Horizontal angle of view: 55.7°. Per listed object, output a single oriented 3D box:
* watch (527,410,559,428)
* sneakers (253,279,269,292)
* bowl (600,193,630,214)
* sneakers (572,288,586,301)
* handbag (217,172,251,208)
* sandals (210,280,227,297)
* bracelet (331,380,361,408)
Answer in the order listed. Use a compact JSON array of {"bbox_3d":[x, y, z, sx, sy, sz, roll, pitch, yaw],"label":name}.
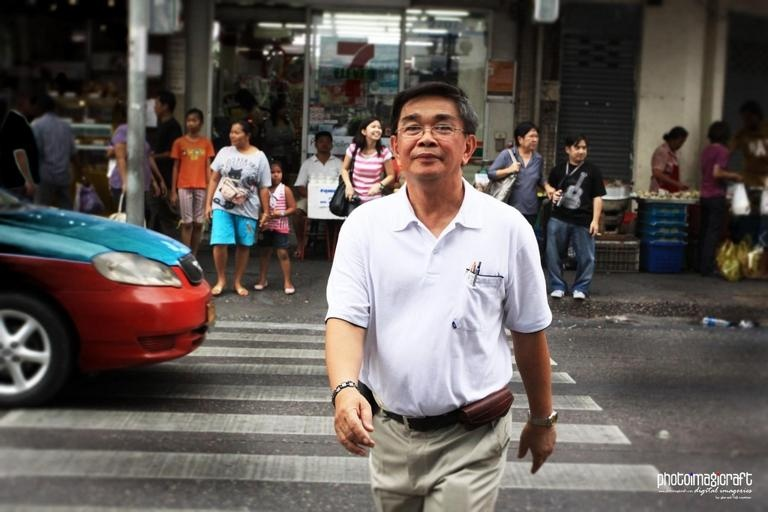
[{"bbox_3d":[0.847,0.888,3.884,0.104,0.042,0.108,0,6,16],"label":"watch"},{"bbox_3d":[-1.836,0.408,10.871,0.210,0.142,0.387,0,12,-9],"label":"sneakers"},{"bbox_3d":[4.237,-0.965,13.268,0.424,0.237,0.403,0,5,0],"label":"bowl"},{"bbox_3d":[2.886,0.571,10.721,0.161,0.168,0.409,-1,-5,7],"label":"sneakers"},{"bbox_3d":[-2.068,-0.907,10.017,0.374,0.373,0.163,38,30,11],"label":"handbag"},{"bbox_3d":[-2.323,0.464,10.276,0.129,0.224,0.367,1,-20,-1],"label":"sandals"},{"bbox_3d":[-0.177,0.655,3.430,0.135,0.140,0.053,2,-2,1],"label":"bracelet"}]
